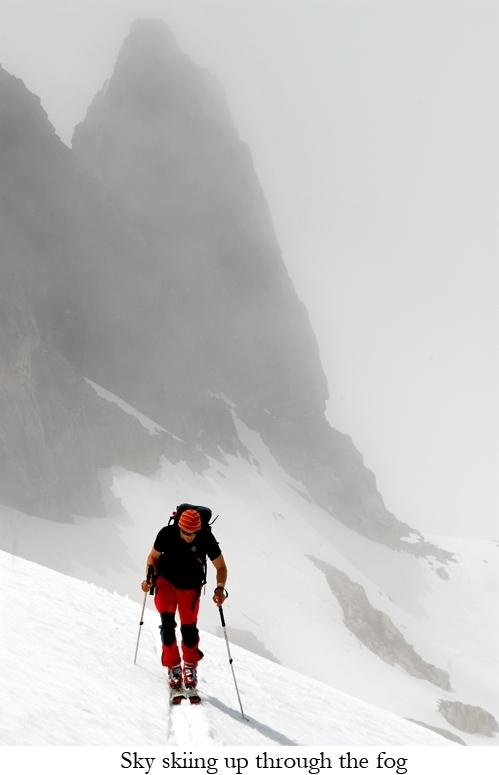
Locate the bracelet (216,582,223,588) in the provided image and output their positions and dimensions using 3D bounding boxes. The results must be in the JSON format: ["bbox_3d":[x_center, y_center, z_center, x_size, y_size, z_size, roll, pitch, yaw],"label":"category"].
[{"bbox_3d":[-0.557,3.832,16.111,0.089,0.089,0.082,2,-12,14],"label":"bracelet"}]

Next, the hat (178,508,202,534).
[{"bbox_3d":[-1.126,2.595,16.129,0.409,0.432,0.489,8,-9,-8],"label":"hat"}]

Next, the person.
[{"bbox_3d":[-1.304,4.027,15.977,1.302,3.502,0.911,14,-16,-30],"label":"person"}]
